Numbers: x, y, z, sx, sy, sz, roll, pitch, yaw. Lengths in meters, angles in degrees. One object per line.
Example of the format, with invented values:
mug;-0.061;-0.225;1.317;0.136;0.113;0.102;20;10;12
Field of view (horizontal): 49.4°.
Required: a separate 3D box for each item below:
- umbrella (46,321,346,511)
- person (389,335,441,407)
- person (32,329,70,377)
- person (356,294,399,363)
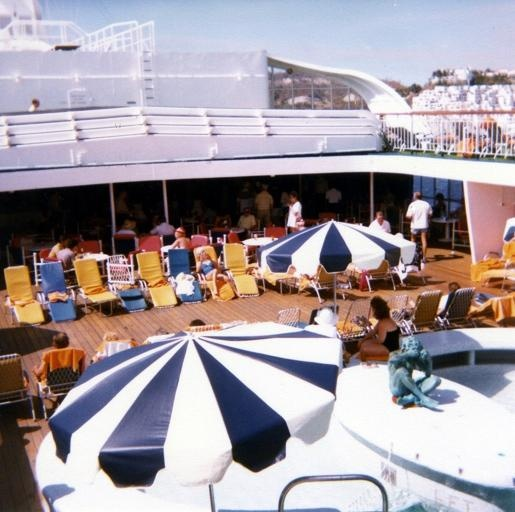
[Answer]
umbrella;-0.561;1.104;4.942;2.439;0.901;2.574;-9;5;4
person;1.743;1.306;6.249;0.545;0.808;0.594;-12;14;-28
person;-2.937;1.378;7.893;0.493;0.764;0.455;-6;29;-37
person;1.748;0.952;8.244;0.610;0.946;1.088;-5;11;13
